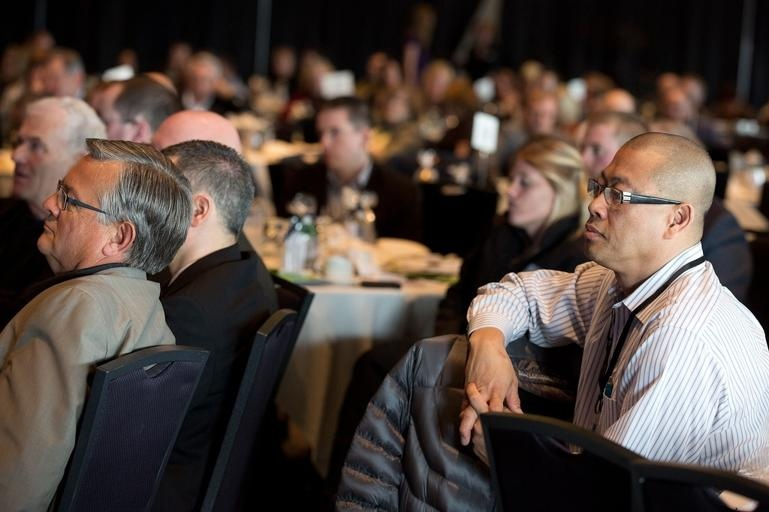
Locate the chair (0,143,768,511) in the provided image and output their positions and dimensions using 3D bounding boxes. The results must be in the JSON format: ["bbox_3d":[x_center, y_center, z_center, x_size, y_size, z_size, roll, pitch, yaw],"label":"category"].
[{"bbox_3d":[-0.030,0.129,2.426,2.255,1.213,1.009,4,1,1],"label":"chair"}]
